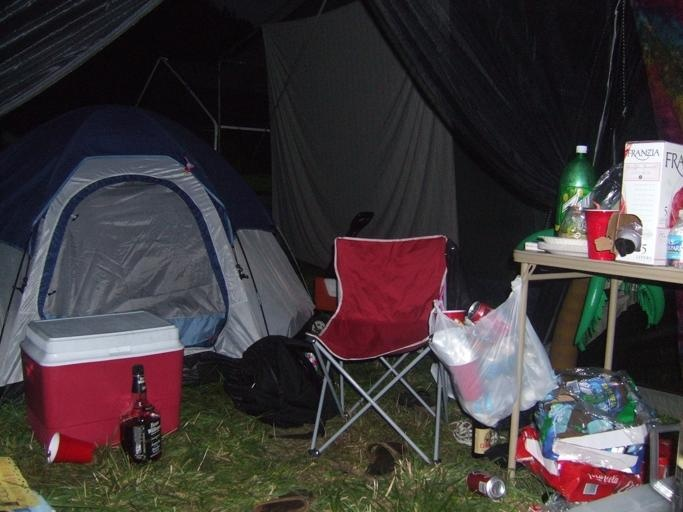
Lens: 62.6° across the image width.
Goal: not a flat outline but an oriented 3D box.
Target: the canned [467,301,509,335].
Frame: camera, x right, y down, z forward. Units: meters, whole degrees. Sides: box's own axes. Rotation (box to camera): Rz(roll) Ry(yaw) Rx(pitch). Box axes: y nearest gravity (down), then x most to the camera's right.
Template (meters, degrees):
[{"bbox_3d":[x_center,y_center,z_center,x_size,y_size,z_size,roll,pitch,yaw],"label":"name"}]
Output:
[{"bbox_3d":[0.678,0.298,2.686,0.105,0.112,0.102,12,6,-13],"label":"canned"}]

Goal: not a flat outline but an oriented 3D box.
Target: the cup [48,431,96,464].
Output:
[{"bbox_3d":[-1.332,0.917,2.795,0.184,0.177,0.171,3,-3,0],"label":"cup"}]

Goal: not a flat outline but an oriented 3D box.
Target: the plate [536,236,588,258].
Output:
[{"bbox_3d":[0.937,-0.035,2.380,0.197,0.083,0.142,2,0,24],"label":"plate"}]

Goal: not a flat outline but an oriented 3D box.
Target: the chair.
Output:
[{"bbox_3d":[0.213,0.469,3.036,0.857,1.127,0.815,-3,4,-42],"label":"chair"}]

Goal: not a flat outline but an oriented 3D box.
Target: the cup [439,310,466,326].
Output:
[{"bbox_3d":[0.558,0.305,2.769,0.073,0.063,0.075,0,-5,0],"label":"cup"}]

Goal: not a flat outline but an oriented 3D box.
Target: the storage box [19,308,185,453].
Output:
[{"bbox_3d":[-1.227,0.670,3.060,0.733,0.597,0.482,-3,7,-34],"label":"storage box"}]

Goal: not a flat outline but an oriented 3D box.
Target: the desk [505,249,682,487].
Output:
[{"bbox_3d":[1.184,0.537,2.614,0.653,0.992,0.916,5,4,45],"label":"desk"}]

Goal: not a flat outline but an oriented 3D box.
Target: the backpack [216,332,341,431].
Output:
[{"bbox_3d":[-0.432,0.750,3.367,0.568,0.243,0.478,19,38,29],"label":"backpack"}]

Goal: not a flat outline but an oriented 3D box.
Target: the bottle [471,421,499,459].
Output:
[{"bbox_3d":[0.732,0.923,2.868,0.123,0.152,0.220,2,0,17],"label":"bottle"}]

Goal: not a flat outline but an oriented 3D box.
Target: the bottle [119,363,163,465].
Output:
[{"bbox_3d":[-0.999,0.782,2.799,0.195,0.476,0.129,1,1,-6],"label":"bottle"}]
